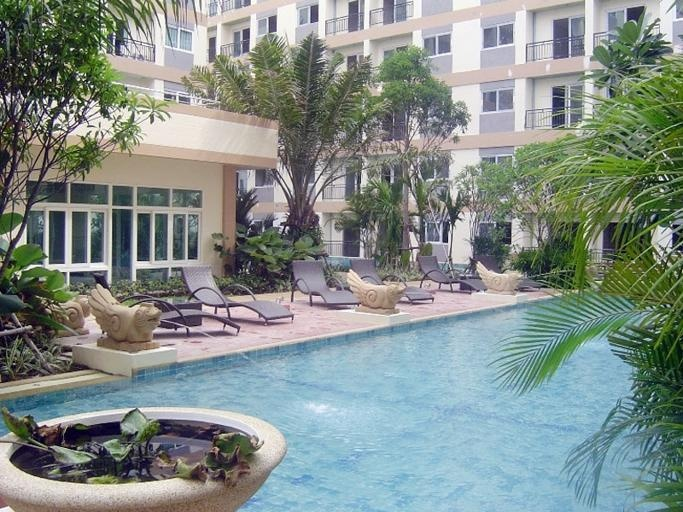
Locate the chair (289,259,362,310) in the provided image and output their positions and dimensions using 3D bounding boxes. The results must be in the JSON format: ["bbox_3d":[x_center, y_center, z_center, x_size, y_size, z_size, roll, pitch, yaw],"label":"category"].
[{"bbox_3d":[-0.527,0.701,14.209,1.343,1.132,2.467,1,5,-20],"label":"chair"}]

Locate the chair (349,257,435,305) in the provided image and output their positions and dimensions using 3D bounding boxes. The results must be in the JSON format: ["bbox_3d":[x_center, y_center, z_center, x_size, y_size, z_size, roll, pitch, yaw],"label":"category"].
[{"bbox_3d":[1.096,0.637,15.292,2.320,1.119,1.132,6,6,44],"label":"chair"}]

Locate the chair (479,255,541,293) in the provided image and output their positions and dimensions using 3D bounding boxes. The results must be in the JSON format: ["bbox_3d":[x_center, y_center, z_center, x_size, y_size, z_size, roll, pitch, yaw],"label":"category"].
[{"bbox_3d":[4.639,0.619,17.118,1.754,0.792,0.670,6,17,14],"label":"chair"}]
